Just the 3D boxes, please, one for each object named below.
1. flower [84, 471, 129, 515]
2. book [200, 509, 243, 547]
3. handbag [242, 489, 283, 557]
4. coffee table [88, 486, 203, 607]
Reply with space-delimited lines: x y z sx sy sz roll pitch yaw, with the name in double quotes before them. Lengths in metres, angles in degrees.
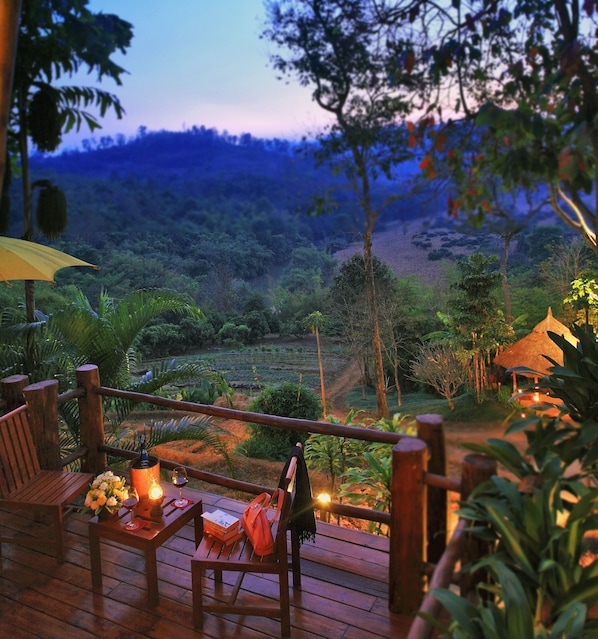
"flower" -0.926 0.825 2.492 0.146 0.109 0.196 10 12 -1
"book" -0.344 0.939 2.330 0.130 0.047 0.102 15 13 40
"handbag" -0.152 0.847 2.220 0.131 0.244 0.239 1 14 -5
"coffee table" -0.758 0.951 2.581 0.420 0.478 0.586 4 7 22
